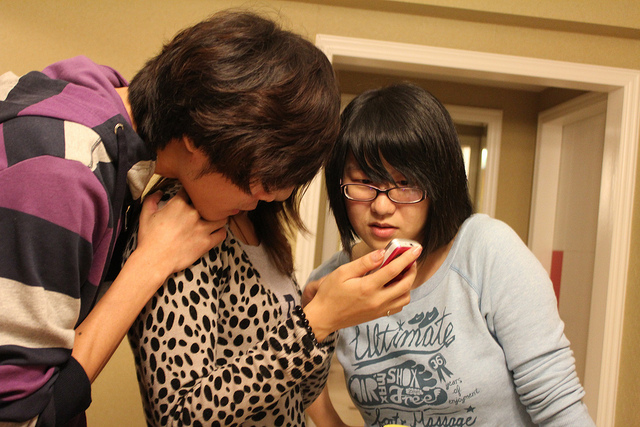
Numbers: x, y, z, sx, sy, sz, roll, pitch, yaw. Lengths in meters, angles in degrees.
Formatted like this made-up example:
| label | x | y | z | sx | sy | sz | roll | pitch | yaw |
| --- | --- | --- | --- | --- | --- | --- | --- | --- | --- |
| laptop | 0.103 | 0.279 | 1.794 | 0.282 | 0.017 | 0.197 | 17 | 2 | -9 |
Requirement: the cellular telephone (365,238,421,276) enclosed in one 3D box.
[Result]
| label | x | y | z | sx | sy | sz | roll | pitch | yaw |
| --- | --- | --- | --- | --- | --- | --- | --- | --- | --- |
| cellular telephone | 0.219 | 0.130 | 1.637 | 0.207 | 0.021 | 0.119 | -47 | -33 | 19 |
